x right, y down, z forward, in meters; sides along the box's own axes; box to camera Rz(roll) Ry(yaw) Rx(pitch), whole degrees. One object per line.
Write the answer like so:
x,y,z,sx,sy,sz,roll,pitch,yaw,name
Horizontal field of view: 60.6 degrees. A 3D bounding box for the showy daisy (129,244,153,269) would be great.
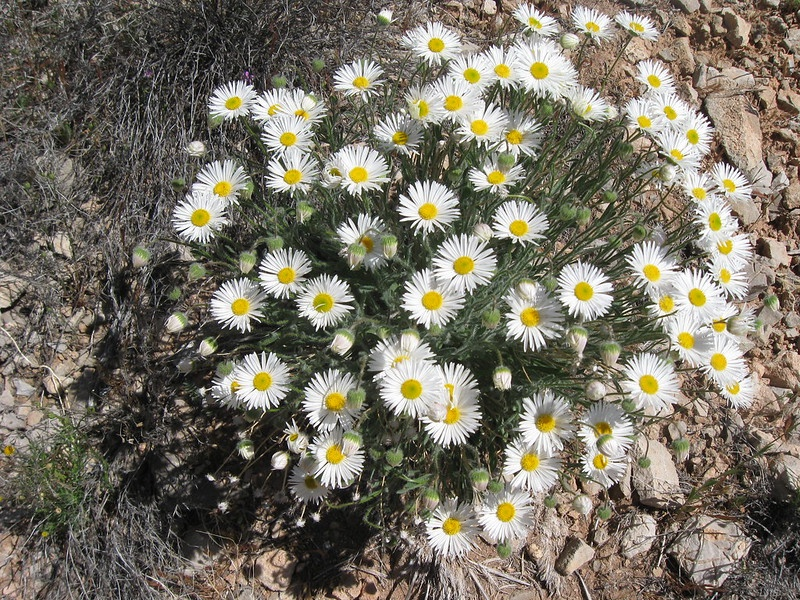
-1.873,-0.322,5.009,0.092,0.230,0.134,-8,-66,10,showy daisy
